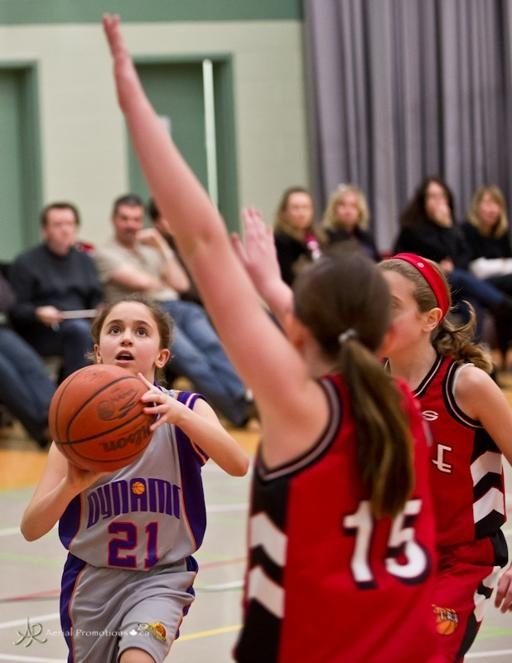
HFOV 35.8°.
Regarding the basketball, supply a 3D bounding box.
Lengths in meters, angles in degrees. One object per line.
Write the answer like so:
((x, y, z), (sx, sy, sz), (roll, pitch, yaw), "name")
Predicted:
((-0.269, 0.149, 1.390), (0.183, 0.201, 0.175), (-2, 23, 11), "basketball")
